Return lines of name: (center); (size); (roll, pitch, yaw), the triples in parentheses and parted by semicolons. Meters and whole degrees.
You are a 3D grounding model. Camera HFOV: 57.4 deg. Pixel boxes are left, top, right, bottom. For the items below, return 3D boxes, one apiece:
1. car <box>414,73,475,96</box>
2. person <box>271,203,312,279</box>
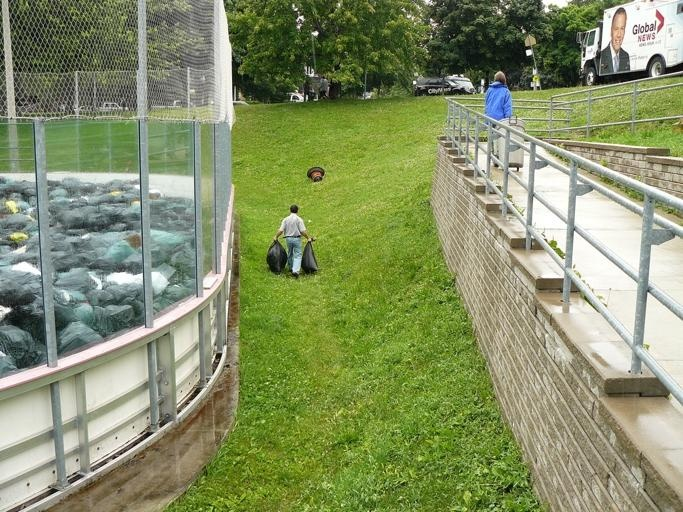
car: (6.994, -11.271, 43.298); (3.431, 1.886, 2.262); (7, 27, 30)
person: (-1.105, -0.348, 13.376); (0.651, 1.526, 0.631); (8, 16, 24)
